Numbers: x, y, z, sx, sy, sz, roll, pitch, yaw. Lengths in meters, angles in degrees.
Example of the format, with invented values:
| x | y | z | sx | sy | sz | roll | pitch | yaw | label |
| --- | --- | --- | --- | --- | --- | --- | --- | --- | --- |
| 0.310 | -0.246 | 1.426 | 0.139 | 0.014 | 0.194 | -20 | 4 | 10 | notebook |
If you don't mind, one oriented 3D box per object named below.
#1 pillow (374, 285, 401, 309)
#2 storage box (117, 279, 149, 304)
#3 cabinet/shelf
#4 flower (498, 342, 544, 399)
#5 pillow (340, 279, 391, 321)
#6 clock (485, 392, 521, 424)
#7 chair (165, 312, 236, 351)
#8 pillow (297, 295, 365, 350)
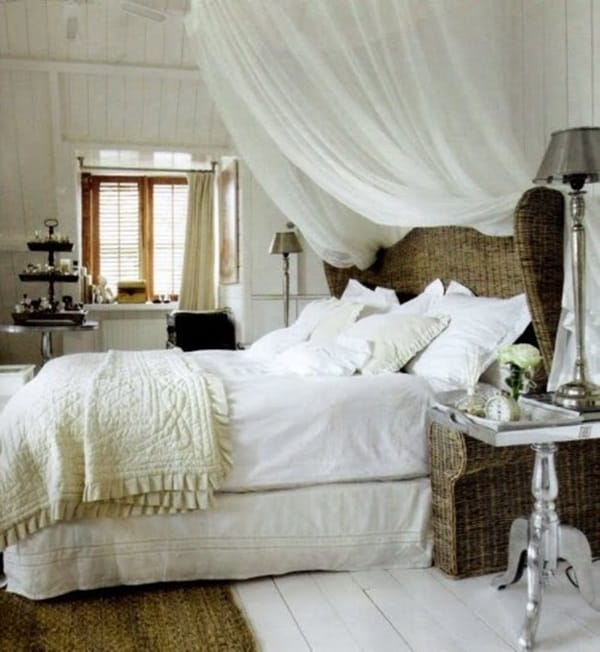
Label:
| x | y | z | sx | sy | sz | roll | pitch | yaw | label |
| --- | --- | --- | --- | --- | --- | --- | --- | --- | --- |
| 0.500 | -0.158 | 3.859 | 0.090 | 0.045 | 0.142 | -20 | 30 | 14 | pillow |
| -1.619 | -0.340 | 6.627 | 0.211 | 0.173 | 0.219 | 0 | 3 | -8 | storage box |
| -1.729 | -0.394 | 4.784 | 0.439 | 0.690 | 0.438 | 1 | 10 | -11 | cabinet/shelf |
| 0.728 | 0.177 | 2.324 | 0.097 | 0.124 | 0.111 | 13 | -19 | -26 | flower |
| 0.394 | -0.172 | 3.936 | 0.076 | 0.225 | 0.246 | 30 | -8 | -31 | pillow |
| 0.592 | 0.238 | 1.985 | 0.097 | 0.075 | 0.079 | 3 | 12 | 17 | clock |
| -0.801 | -0.038 | 5.705 | 0.435 | 0.409 | 0.265 | -4 | 44 | -6 | chair |
| 0.180 | -0.039 | 3.580 | 0.061 | 0.263 | 0.241 | 30 | -11 | -8 | pillow |
